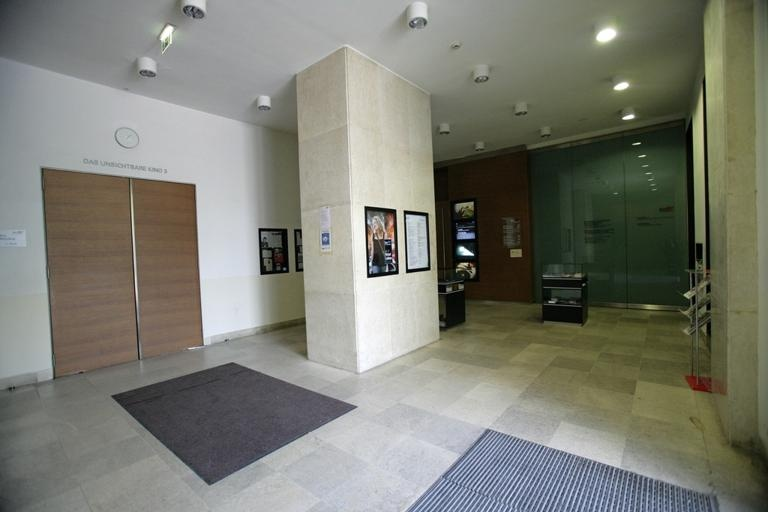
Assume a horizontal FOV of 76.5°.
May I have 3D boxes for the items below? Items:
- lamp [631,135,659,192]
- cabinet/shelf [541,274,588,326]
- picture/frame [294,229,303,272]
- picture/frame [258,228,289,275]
[{"bbox_3d":[6.038,-2.101,11.213,0.198,1.323,0.288,-22,9,-13],"label":"lamp"},{"bbox_3d":[3.750,0.912,10.142,1.043,1.395,0.774,-2,-3,34],"label":"cabinet/shelf"},{"bbox_3d":[-1.964,-0.134,11.219,0.167,0.970,0.238,-3,4,-4],"label":"picture/frame"},{"bbox_3d":[-2.451,-0.102,10.714,0.050,1.390,1.053,-3,-1,39],"label":"picture/frame"}]
